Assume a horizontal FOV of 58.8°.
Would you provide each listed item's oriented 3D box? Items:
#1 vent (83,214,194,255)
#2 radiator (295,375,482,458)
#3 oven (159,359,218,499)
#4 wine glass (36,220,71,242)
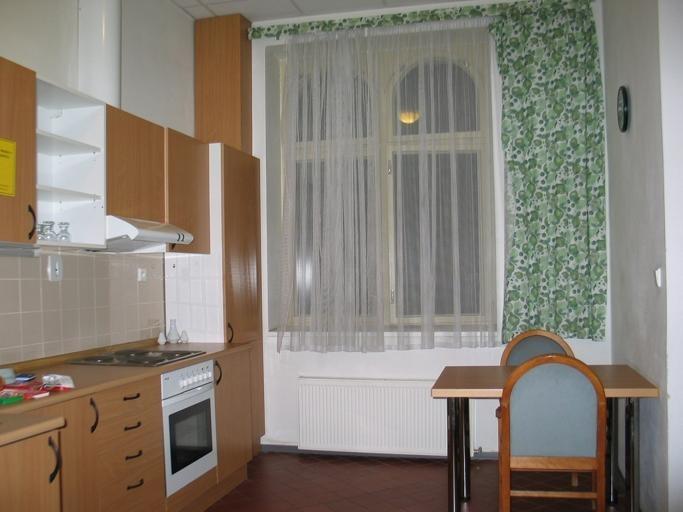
[{"bbox_3d":[-1.402,-0.137,4.191,0.497,0.191,0.721,-6,-3,16],"label":"vent"},{"bbox_3d":[0.292,1.372,4.984,1.318,0.641,0.173,3,-26,-2],"label":"radiator"},{"bbox_3d":[-1.011,1.124,4.052,0.406,0.674,0.463,-1,-3,15],"label":"oven"},{"bbox_3d":[-1.746,-0.146,3.653,0.054,0.116,0.131,2,2,31],"label":"wine glass"}]
